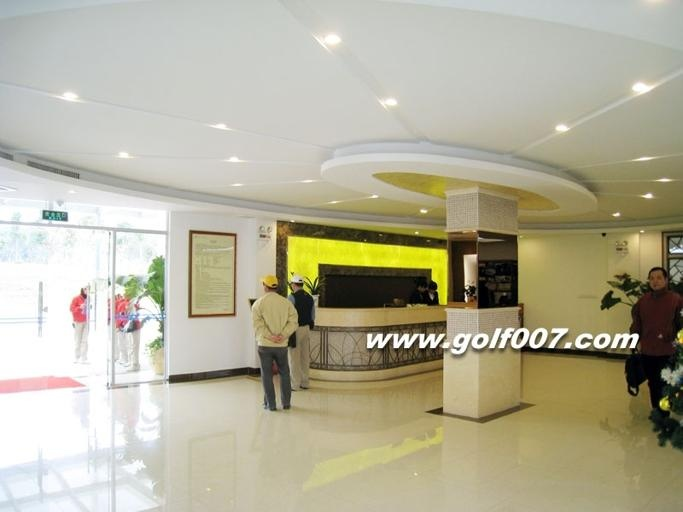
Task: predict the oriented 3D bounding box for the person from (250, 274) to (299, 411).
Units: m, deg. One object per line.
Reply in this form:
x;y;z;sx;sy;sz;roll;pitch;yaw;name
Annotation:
-1.064;1.368;7.447;0.684;2.108;0.342;1;-2;-8;person

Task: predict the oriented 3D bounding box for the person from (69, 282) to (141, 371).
-4.731;1.471;9.414;1.303;1.717;0.563;1;-2;-25;person

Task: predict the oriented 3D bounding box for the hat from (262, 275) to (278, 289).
-1.176;0.403;7.605;0.194;0.155;0.298;-3;17;-25;hat

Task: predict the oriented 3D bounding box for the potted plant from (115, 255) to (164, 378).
-4.444;1.218;9.569;0.899;1.766;0.986;-11;-10;14;potted plant

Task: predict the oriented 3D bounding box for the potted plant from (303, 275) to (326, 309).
-0.639;0.889;11.614;0.665;0.843;0.749;-4;-2;22;potted plant
